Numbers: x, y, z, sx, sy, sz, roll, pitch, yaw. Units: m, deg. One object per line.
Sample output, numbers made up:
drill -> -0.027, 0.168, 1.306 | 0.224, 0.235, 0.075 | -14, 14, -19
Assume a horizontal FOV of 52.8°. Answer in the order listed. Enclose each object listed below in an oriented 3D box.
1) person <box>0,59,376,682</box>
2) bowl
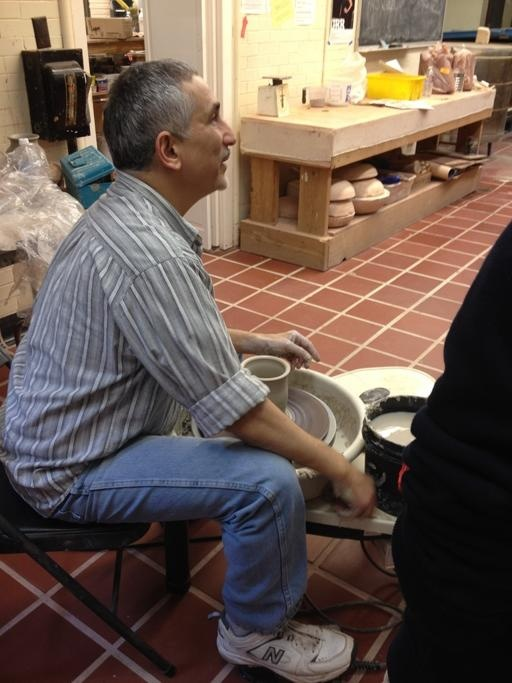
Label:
person -> -0.160, 0.093, 1.238 | 0.929, 1.411, 0.543 | 8, 23, 14
bowl -> 0.110, 0.311, 1.687 | 0.418, 0.143, 0.397 | 2, 34, -1
